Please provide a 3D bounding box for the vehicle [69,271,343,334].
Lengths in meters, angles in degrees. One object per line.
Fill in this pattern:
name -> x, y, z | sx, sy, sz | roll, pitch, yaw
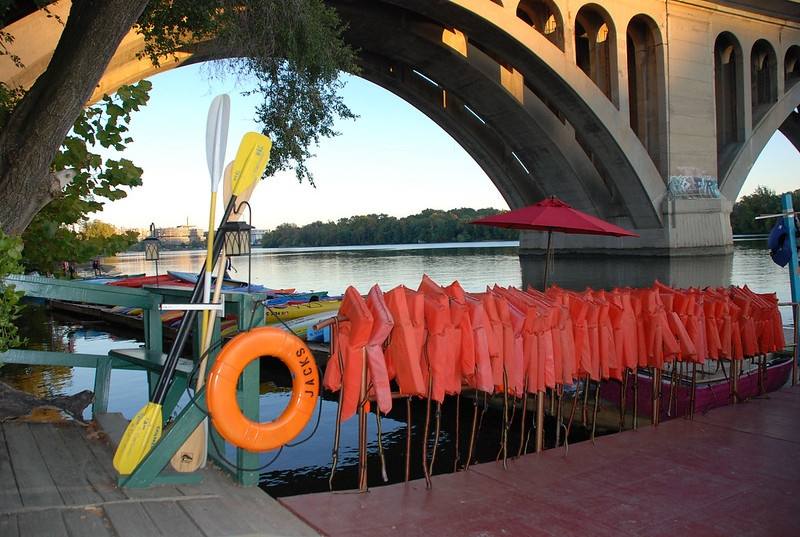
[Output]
vehicle -> -4.028, 0.689, 14.248 | 5.788, 1.011, 1.320 | 4, 1, 8

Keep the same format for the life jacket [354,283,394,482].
life jacket -> -0.243, 0.896, 7.554 | 0.364, 1.465, 0.336 | 0, -2, 5

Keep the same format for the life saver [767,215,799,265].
life saver -> 6.329, -0.463, 11.667 | 0.351, 0.836, 0.497 | 1, 0, 7
